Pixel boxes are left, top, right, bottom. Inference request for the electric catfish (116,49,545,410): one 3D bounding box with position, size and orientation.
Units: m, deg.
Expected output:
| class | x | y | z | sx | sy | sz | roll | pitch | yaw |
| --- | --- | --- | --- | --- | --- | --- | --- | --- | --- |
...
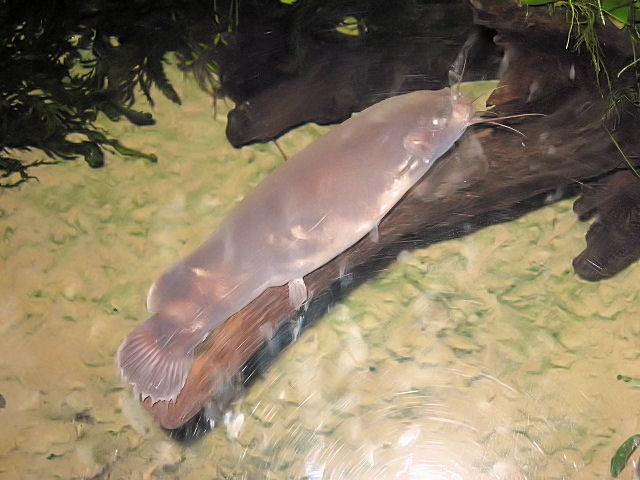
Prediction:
| class | x | y | z | sx | sy | sz | roll | pitch | yaw |
| --- | --- | --- | --- | --- | --- | --- | --- | --- | --- |
| electric catfish | -0.061 | -0.006 | 1.294 | 0.820 | 0.256 | 0.301 | -36 | 60 | 2 |
